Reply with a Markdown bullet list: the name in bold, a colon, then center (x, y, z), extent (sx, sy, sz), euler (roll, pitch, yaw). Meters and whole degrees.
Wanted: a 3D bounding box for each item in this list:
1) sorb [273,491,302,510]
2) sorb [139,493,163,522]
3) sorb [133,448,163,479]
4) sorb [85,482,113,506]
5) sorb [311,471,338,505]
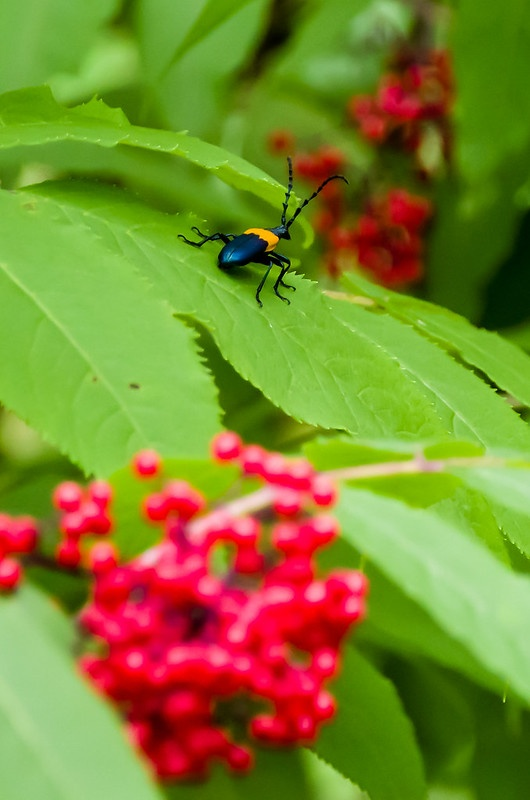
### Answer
- **sorb**: center (0.029, 0.132, 1.014), extent (0.035, 0.020, 0.027), euler (6, 54, 10)
- **sorb**: center (-0.147, 0.138, 1.027), extent (0.011, 0.038, 0.035), euler (-18, 79, -52)
- **sorb**: center (-0.162, 0.090, 1.064), extent (0.036, 0.029, 0.038), euler (-35, 58, -19)
- **sorb**: center (-0.229, 0.131, 1.067), extent (0.026, 0.039, 0.041), euler (1, 54, 7)
- **sorb**: center (0.075, 0.115, 1.005), extent (0.031, 0.024, 0.036), euler (-3, 89, 4)
